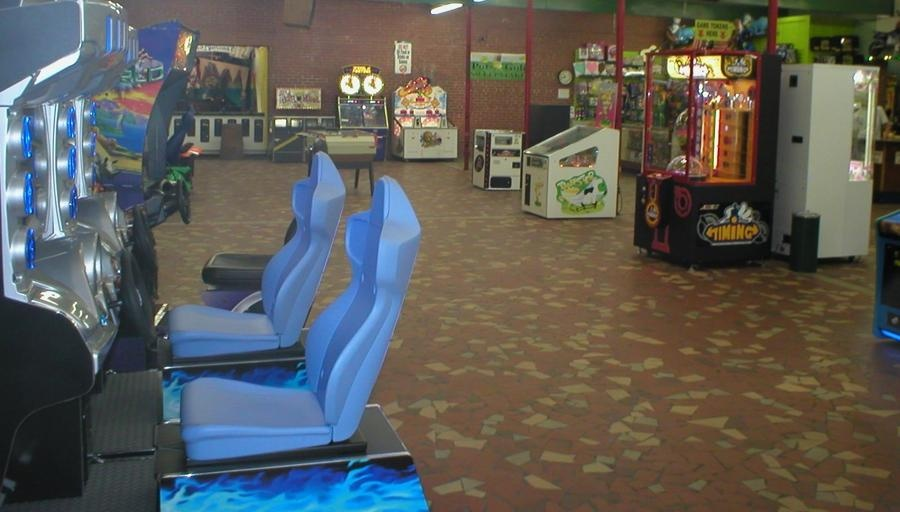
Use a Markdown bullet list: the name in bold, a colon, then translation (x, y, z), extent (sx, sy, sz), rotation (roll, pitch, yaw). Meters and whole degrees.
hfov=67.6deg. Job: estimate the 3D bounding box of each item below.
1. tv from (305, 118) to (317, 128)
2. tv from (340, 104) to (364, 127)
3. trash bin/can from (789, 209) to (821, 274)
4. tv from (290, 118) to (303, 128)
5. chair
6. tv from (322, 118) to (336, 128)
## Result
- **tv**: translation (-3.432, -3.338, 16.609), extent (0.264, 0.203, 0.431), rotation (-3, 10, -13)
- **tv**: translation (-2.536, -3.608, 17.130), extent (0.646, 0.608, 0.084), rotation (4, -13, -12)
- **trash bin/can**: translation (4.119, -0.165, 7.771), extent (0.361, 0.584, 0.344), rotation (-5, 8, -31)
- **tv**: translation (-3.766, -3.294, 16.456), extent (0.251, 0.159, 0.242), rotation (1, -1, 0)
- **chair**: translation (-0.792, 0.282, 3.571), extent (1.223, 1.394, 0.551), rotation (-2, 10, -10)
- **tv**: translation (-3.039, -3.376, 16.797), extent (0.347, 0.214, 0.818), rotation (-2, 10, -9)
